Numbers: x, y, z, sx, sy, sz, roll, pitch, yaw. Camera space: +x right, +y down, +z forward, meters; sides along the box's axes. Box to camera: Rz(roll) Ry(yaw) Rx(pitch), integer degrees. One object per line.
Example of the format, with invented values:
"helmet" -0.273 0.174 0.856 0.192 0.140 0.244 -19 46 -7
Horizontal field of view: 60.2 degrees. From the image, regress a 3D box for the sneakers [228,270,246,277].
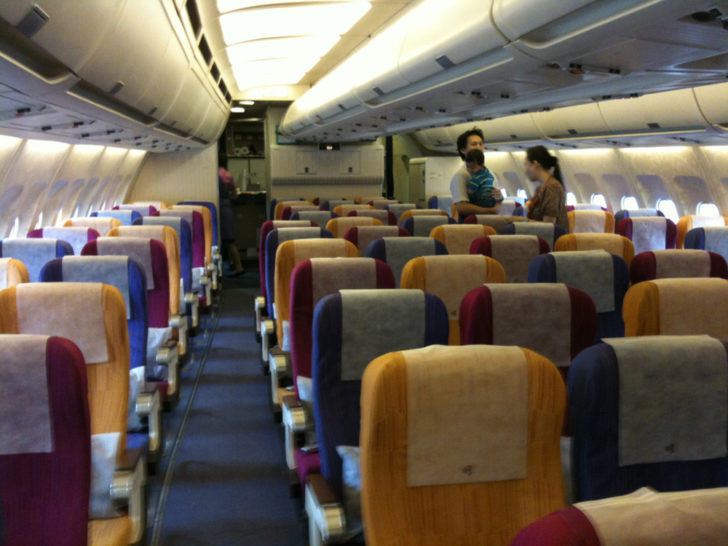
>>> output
"sneakers" -2.429 0.006 11.854 0.325 0.147 0.120 0 6 31
